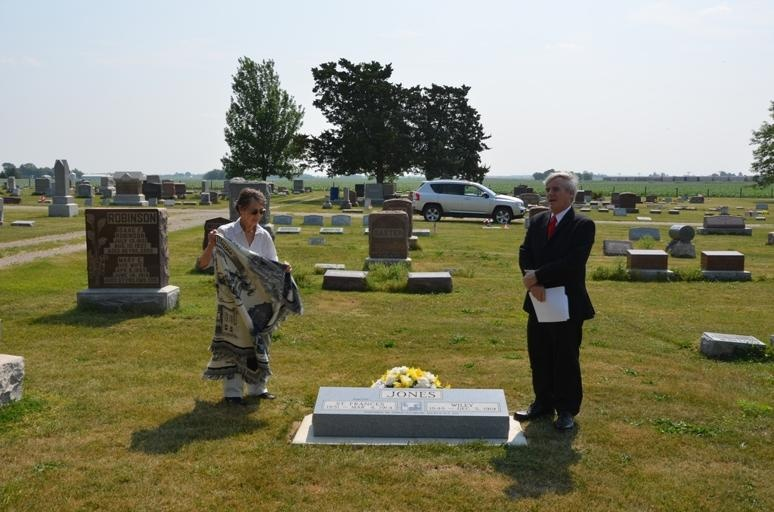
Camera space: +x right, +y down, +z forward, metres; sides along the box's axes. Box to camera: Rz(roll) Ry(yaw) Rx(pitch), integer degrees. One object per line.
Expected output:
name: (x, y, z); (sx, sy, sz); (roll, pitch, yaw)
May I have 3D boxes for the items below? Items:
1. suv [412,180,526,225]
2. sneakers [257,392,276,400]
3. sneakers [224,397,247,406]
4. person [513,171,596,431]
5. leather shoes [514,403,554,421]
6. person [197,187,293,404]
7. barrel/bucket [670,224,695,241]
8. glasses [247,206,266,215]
suv: (4.184, -2.741, 32.645); (5.411, 1.878, 2.429); (0, 6, 0)
sneakers: (-1.504, 1.774, 8.115); (0.191, 0.077, 0.092); (-1, 3, 9)
sneakers: (-1.848, 1.804, 7.948); (0.301, 0.120, 0.099); (1, 5, -1)
person: (1.990, 0.515, 7.524); (0.820, 2.946, 0.602); (2, 7, 17)
leather shoes: (1.737, 1.866, 7.665); (0.535, 0.199, 0.176); (0, -1, -3)
person: (-1.661, 0.516, 7.823); (1.081, 2.611, 0.433); (-1, 7, -15)
barrel/bucket: (9.121, -0.769, 19.815); (0.485, 0.482, 0.713); (-35, 33, -29)
glasses: (-1.581, -0.539, 7.768); (0.221, 0.088, 0.244); (-2, 3, -32)
